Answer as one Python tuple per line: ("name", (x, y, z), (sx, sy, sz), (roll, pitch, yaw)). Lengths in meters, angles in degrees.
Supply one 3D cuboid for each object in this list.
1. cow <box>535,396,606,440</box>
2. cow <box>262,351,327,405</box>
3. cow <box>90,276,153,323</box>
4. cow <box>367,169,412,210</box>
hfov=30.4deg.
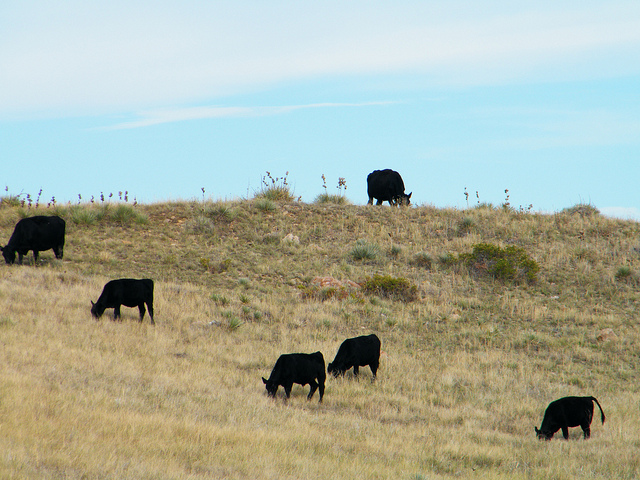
("cow", (7.272, 5.201, 34.163), (1.926, 1.487, 0.594), (-9, -6, 2))
("cow", (-0.641, 4.061, 34.988), (1.833, 1.728, 0.545), (-3, 13, -17))
("cow", (-6.315, 1.808, 37.976), (2.032, 1.408, 0.805), (5, -4, -26))
("cow", (3.266, -2.535, 56.483), (0.993, 2.149, 3.238), (2, 4, -33))
